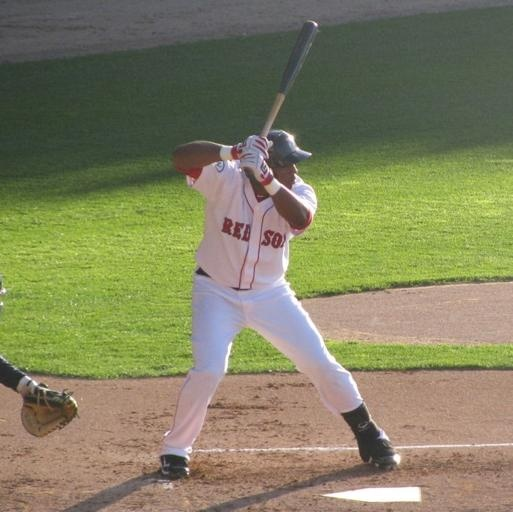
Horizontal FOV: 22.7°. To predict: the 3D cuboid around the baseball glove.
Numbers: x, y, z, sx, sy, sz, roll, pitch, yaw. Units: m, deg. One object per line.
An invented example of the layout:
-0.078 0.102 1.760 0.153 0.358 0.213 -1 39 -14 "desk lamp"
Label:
-1.969 1.477 12.283 0.569 0.544 0.367 -8 2 25 "baseball glove"
